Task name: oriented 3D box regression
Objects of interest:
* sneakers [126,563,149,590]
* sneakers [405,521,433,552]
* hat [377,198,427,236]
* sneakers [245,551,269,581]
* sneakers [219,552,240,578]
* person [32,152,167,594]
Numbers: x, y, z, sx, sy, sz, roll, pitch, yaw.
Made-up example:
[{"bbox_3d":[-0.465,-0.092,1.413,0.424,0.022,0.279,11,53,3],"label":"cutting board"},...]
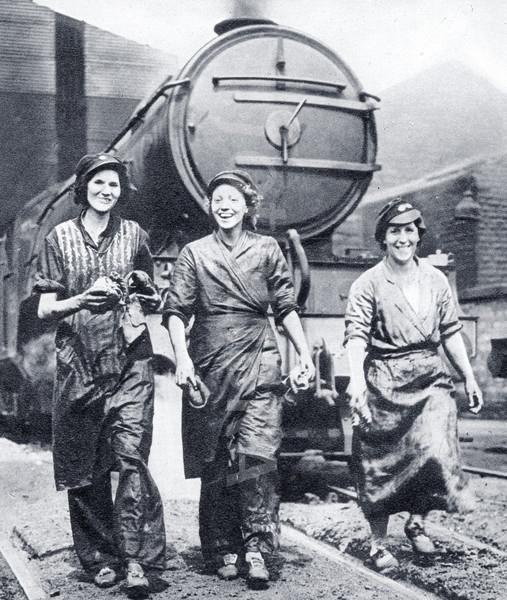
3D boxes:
[{"bbox_3d":[-0.583,1.367,4.856,0.094,0.133,0.142,-4,-5,-8],"label":"sneakers"},{"bbox_3d":[0.871,1.274,5.308,0.101,0.174,0.066,-31,-14,-19],"label":"sneakers"},{"bbox_3d":[0.801,-0.470,5.513,0.194,0.151,0.255,2,-7,-1],"label":"hat"},{"bbox_3d":[0.013,1.302,4.847,0.113,0.160,0.181,-2,5,-2],"label":"sneakers"},{"bbox_3d":[-0.121,1.342,4.968,0.087,0.119,0.048,6,-34,8],"label":"sneakers"},{"bbox_3d":[-0.769,0.346,5.044,0.642,2.187,0.514,0,5,14],"label":"person"}]
